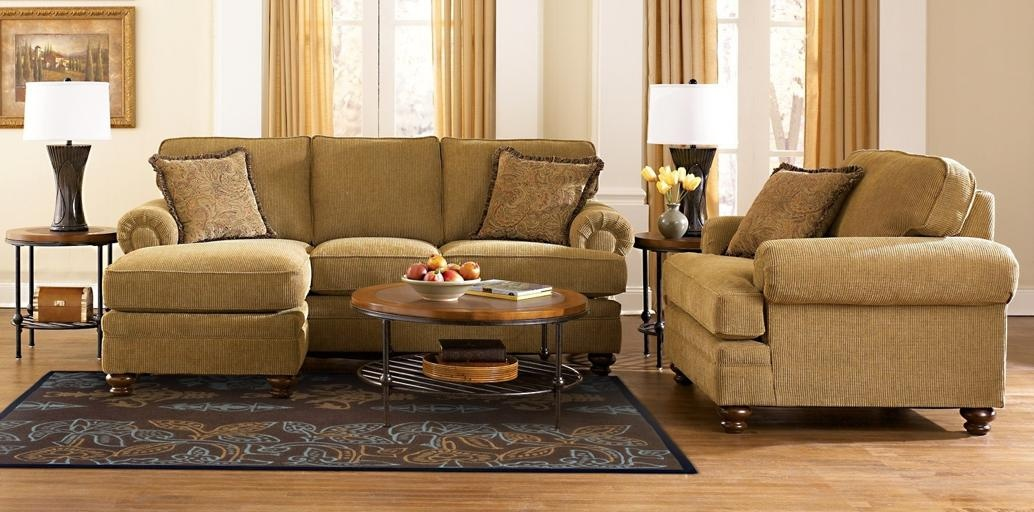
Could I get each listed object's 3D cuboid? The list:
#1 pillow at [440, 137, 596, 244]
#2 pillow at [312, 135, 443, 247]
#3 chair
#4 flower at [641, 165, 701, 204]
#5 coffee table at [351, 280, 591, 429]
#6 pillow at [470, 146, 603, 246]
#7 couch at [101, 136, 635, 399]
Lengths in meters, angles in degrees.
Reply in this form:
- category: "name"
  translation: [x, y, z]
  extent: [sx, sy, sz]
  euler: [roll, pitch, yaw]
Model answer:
- category: "pillow"
  translation: [-0.007, -0.497, 6.508]
  extent: [1.577, 0.769, 0.286]
  euler: [2, -5, 2]
- category: "pillow"
  translation: [-1.167, -0.562, 6.508]
  extent: [1.448, 0.771, 0.273]
  euler: [0, 0, -2]
- category: "chair"
  translation: [2.550, 0.277, 6.112]
  extent: [2.679, 1.702, 2.443]
  euler: [1, 2, 3]
- category: "flower"
  translation: [1.130, -0.557, 6.382]
  extent: [0.615, 0.278, 0.474]
  euler: [-1, 1, 16]
- category: "coffee table"
  translation: [-0.317, 0.627, 5.353]
  extent: [1.518, 0.500, 1.208]
  euler: [0, 4, 1]
- category: "pillow"
  translation: [0.171, -0.460, 6.407]
  extent: [1.084, 0.716, 0.271]
  euler: [10, -7, 10]
- category: "couch"
  translation: [-1.423, -0.029, 6.709]
  extent: [5.078, 1.528, 2.328]
  euler: [0, 1, -2]
